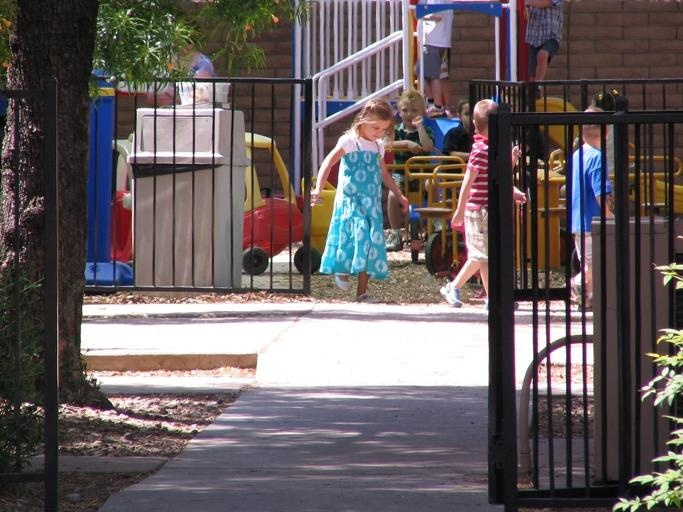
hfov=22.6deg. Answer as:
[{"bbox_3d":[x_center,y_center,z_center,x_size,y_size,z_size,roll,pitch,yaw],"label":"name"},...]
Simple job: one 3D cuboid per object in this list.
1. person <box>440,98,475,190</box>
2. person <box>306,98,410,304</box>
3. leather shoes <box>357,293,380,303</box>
[{"bbox_3d":[1.240,-1.152,17.088,0.405,0.801,0.461,-3,13,-29],"label":"person"},{"bbox_3d":[0.145,-0.462,14.559,0.789,1.716,0.590,-1,2,-15],"label":"person"},{"bbox_3d":[0.256,0.372,14.604,0.226,0.101,0.079,-1,-1,21],"label":"leather shoes"}]
